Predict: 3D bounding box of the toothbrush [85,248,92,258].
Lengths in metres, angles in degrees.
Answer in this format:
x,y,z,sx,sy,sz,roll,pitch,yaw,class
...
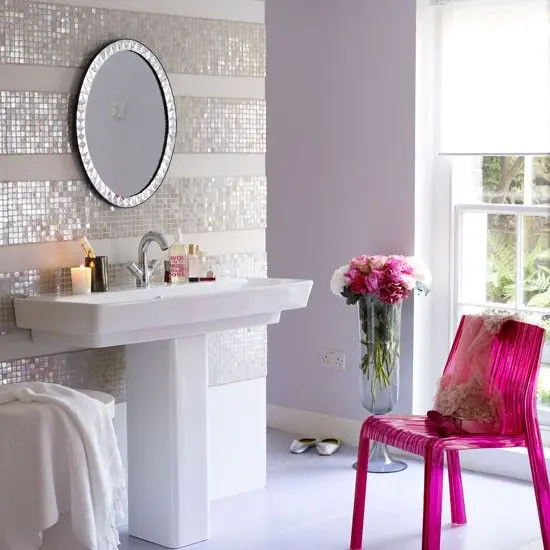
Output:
x,y,z,sx,sy,sz,roll,pitch,yaw,class
-0.673,-0.078,1.983,0.019,0.031,0.027,4,3,-18,toothbrush

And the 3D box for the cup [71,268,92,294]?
x,y,z,sx,sy,sz,roll,pitch,yaw,class
-0.676,0.012,1.937,0.068,0.134,0.083,1,4,-6,cup

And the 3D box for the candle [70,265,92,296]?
x,y,z,sx,sy,sz,roll,pitch,yaw,class
-0.682,0.019,1.924,0.071,0.141,0.085,1,4,-5,candle

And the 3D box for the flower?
x,y,z,sx,sy,sz,roll,pitch,yaw,class
0.485,0.033,2.625,0.357,0.244,0.406,2,14,17,flower

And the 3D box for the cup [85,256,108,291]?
x,y,z,sx,sy,sz,roll,pitch,yaw,class
-0.646,-0.016,2.016,0.073,0.144,0.080,16,24,34,cup
